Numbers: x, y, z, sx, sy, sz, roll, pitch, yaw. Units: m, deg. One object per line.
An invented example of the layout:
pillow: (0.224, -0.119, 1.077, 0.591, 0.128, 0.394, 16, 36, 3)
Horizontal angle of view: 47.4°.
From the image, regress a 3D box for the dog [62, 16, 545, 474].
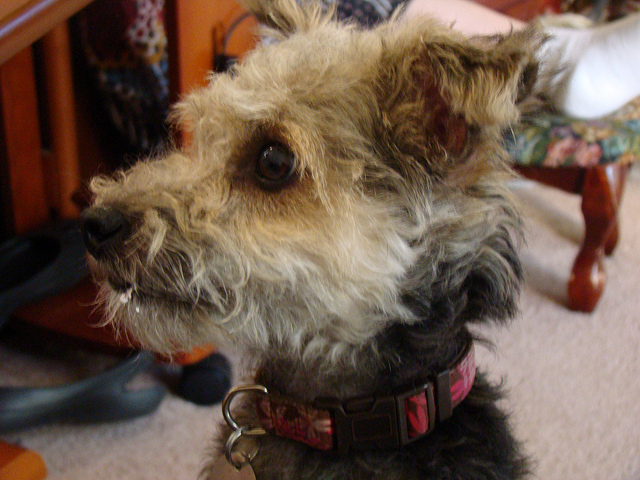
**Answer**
dog: (0.025, -0.033, 1.714, 1.031, 0.875, 0.649, 9, 39, 13)
